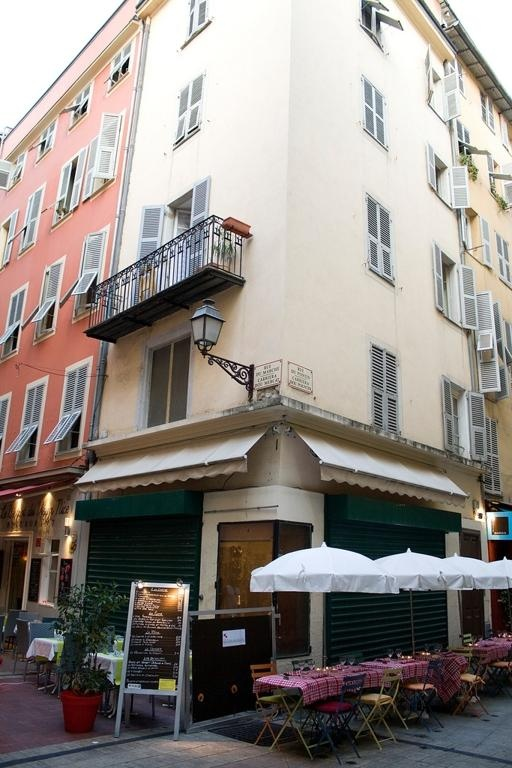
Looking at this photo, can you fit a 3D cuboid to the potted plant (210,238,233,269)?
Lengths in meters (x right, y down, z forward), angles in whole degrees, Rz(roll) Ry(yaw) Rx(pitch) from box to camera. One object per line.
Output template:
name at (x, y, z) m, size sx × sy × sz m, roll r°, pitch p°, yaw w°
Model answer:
potted plant at (-0.548, -2.228, 9.534) m, size 0.394 × 0.618 × 0.378 m, roll 2°, pitch -21°, yaw -2°

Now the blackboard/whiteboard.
blackboard/whiteboard at (-1.022, 2.600, 5.783) m, size 0.606 × 1.113 × 0.027 m, roll 8°, pitch -45°, yaw -12°

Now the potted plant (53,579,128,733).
potted plant at (-1.924, 3.041, 6.354) m, size 0.675 × 1.438 × 1.522 m, roll 8°, pitch -22°, yaw -15°
